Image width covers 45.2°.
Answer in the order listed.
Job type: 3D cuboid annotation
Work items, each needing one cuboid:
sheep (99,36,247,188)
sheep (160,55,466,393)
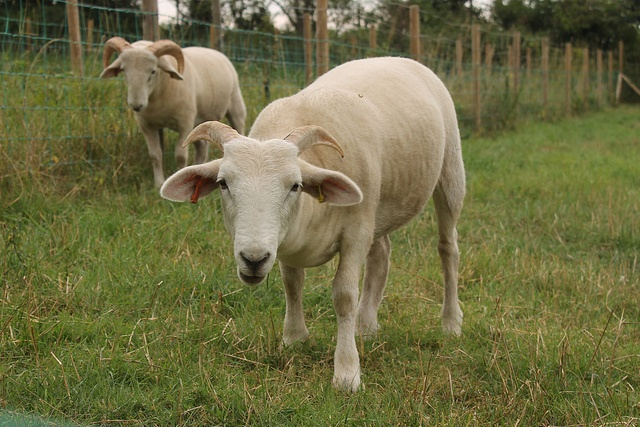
[{"bbox_3d":[-1.808,-1.356,10.207,0.928,1.999,2.948,3,14,17],"label":"sheep"},{"bbox_3d":[0.212,0.123,6.921,1.560,2.859,3.670,2,10,28],"label":"sheep"}]
